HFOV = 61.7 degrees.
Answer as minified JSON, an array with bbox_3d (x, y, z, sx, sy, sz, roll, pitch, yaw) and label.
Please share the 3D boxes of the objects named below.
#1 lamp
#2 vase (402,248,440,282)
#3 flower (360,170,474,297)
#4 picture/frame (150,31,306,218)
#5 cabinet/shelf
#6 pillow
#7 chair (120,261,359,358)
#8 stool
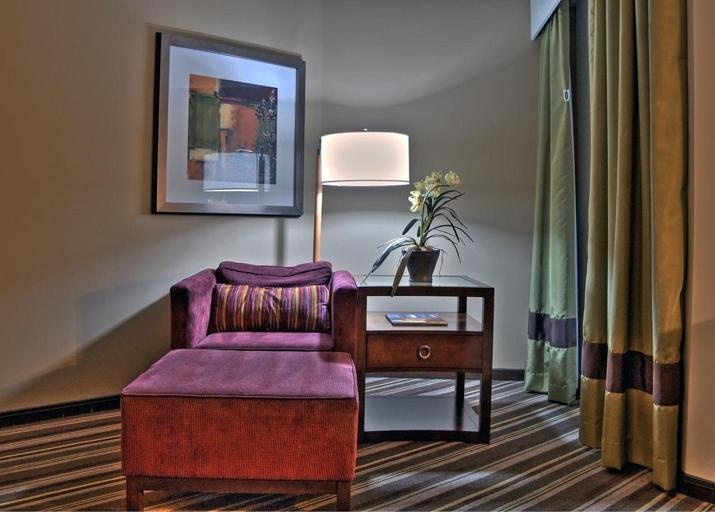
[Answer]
[{"bbox_3d":[0.026,-0.490,3.869,0.576,0.938,0.471,0,1,0],"label":"lamp"},{"bbox_3d":[0.365,0.046,3.445,0.221,0.183,0.222,-3,4,-33],"label":"vase"},{"bbox_3d":[0.286,-0.173,3.739,0.770,0.816,0.633,0,0,26],"label":"flower"},{"bbox_3d":[-0.842,-0.832,3.707,1.111,1.370,0.066,1,0,-24],"label":"picture/frame"},{"bbox_3d":[0.358,0.473,3.466,0.839,0.906,0.776,-4,17,-9],"label":"cabinet/shelf"},{"bbox_3d":[-0.505,0.279,3.385,0.625,0.300,0.168,1,11,-8],"label":"pillow"},{"bbox_3d":[-0.492,0.261,3.303,0.951,0.422,0.598,2,6,-5],"label":"chair"},{"bbox_3d":[-0.521,0.748,2.568,0.810,0.579,0.655,1,7,-2],"label":"stool"}]
